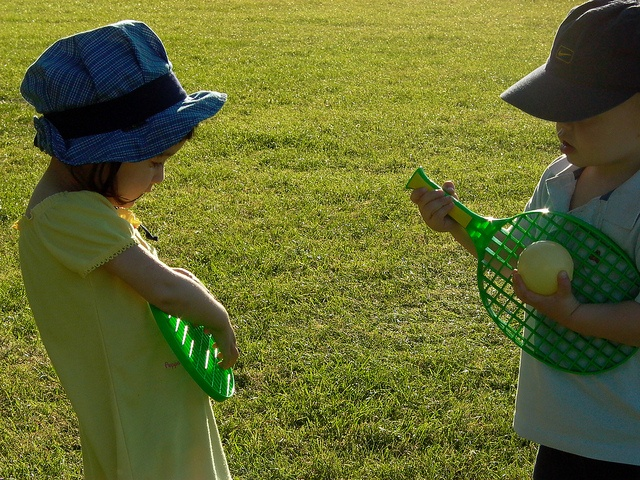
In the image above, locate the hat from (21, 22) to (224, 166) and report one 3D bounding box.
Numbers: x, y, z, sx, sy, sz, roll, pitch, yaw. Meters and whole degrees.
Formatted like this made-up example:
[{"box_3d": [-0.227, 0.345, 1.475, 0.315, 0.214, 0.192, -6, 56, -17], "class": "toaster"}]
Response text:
[{"box_3d": [-0.842, -0.637, 3.072, 0.673, 0.549, 0.843, 15, 18, 36], "class": "hat"}]
